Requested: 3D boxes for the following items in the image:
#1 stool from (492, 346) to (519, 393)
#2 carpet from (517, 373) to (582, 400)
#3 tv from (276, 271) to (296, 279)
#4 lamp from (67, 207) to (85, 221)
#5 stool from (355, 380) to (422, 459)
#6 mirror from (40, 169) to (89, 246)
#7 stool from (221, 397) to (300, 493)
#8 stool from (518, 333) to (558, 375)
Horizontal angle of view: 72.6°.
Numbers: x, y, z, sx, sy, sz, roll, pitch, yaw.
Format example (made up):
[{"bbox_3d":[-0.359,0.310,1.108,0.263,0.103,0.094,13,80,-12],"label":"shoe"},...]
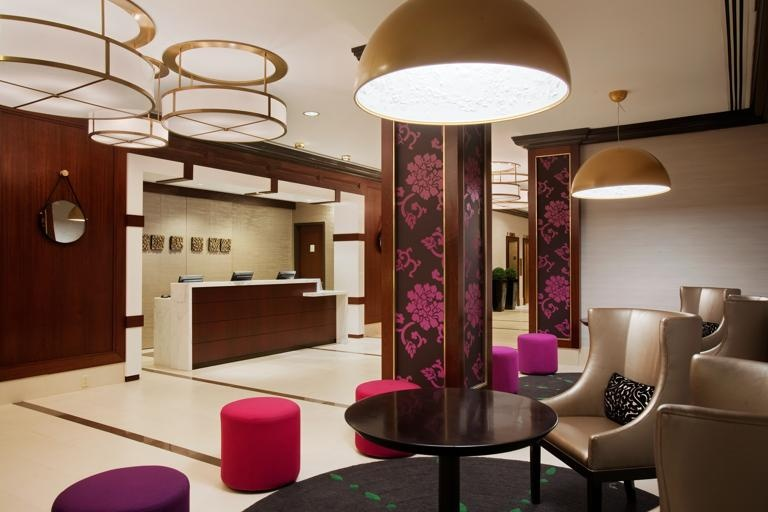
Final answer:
[{"bbox_3d":[1.442,1.360,6.156,0.296,0.509,0.523,1,7,14],"label":"stool"},{"bbox_3d":[2.003,1.605,6.521,0.760,0.167,0.737,-3,1,-25],"label":"carpet"},{"bbox_3d":[-1.740,0.319,9.282,0.281,0.102,0.651,-1,6,-7],"label":"tv"},{"bbox_3d":[-3.804,-0.532,6.435,0.161,0.160,0.157,-1,0,-34],"label":"lamp"},{"bbox_3d":[0.022,1.405,4.747,0.786,0.609,0.751,1,-1,1],"label":"stool"},{"bbox_3d":[-3.919,-0.594,6.330,0.153,0.898,0.471,3,8,30],"label":"mirror"},{"bbox_3d":[-1.006,1.501,4.344,0.657,0.565,0.626,-1,0,-10],"label":"stool"},{"bbox_3d":[2.137,1.314,7.272,0.572,0.499,0.537,0,-1,-41],"label":"stool"}]
